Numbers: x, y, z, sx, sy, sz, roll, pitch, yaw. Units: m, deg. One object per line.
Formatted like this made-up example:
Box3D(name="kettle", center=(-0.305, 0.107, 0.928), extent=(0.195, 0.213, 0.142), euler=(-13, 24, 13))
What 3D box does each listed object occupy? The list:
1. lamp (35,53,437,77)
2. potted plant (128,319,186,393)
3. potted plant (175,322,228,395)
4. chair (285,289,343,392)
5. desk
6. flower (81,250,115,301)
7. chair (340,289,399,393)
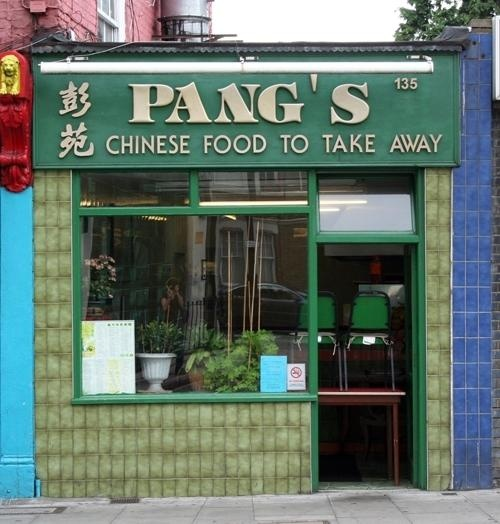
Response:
Box3D(name="lamp", center=(-0.140, -2.086, 12.085), extent=(4.187, 0.178, 0.145), euler=(0, 9, 0))
Box3D(name="potted plant", center=(-1.019, 1.025, 12.433), extent=(0.650, 0.922, 0.693), euler=(-5, -10, 25))
Box3D(name="potted plant", center=(-0.498, 1.052, 12.376), extent=(0.520, 0.628, 0.234), euler=(-1, 9, -2))
Box3D(name="chair", center=(0.795, 0.756, 12.439), extent=(0.724, 1.430, 0.937), euler=(-1, -1, 2))
Box3D(name="desk", center=(1.214, 1.920, 12.673), extent=(0.984, 0.926, 0.861), euler=(1, -6, 7))
Box3D(name="flower", center=(-1.665, 0.145, 12.338), extent=(0.524, 0.728, 0.209), euler=(-1, 1, -10))
Box3D(name="chair", center=(1.340, 0.884, 12.627), extent=(0.597, 1.143, 0.803), euler=(0, 9, 7))
